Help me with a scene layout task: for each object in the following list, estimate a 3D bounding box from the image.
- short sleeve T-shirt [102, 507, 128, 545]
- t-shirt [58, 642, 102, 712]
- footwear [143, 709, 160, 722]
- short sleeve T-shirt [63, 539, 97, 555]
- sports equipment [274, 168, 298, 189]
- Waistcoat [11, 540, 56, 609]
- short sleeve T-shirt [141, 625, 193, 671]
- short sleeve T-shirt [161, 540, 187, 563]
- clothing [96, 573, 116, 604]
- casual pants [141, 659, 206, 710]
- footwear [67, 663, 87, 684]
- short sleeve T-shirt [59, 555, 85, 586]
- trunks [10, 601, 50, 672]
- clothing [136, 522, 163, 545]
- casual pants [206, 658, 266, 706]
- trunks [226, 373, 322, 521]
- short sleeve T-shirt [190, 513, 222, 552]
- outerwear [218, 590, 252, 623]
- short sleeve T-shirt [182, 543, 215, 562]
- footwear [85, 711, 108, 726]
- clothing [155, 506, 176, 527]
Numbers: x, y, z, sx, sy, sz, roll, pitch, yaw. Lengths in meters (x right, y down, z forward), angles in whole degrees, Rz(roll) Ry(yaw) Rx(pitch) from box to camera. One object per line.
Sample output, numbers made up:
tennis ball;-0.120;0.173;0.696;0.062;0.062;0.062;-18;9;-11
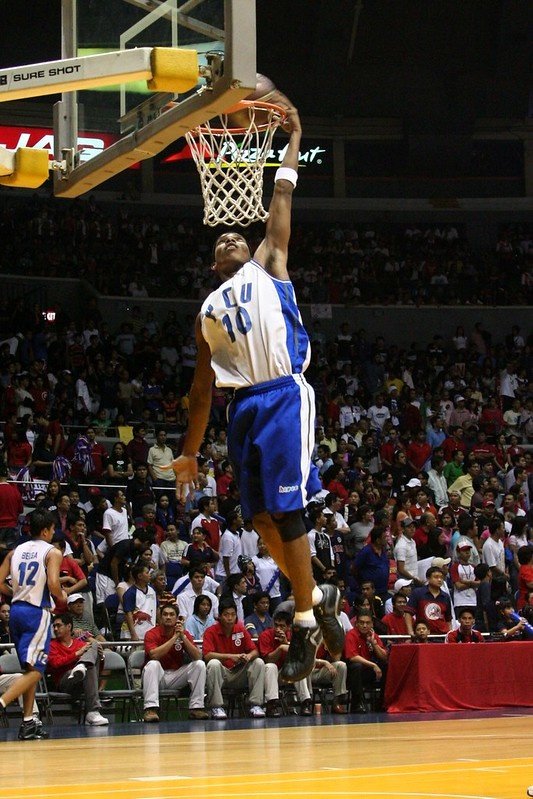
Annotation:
short sleeve T-shirt;-1.558;1.311;10.437;0.152;0.364;0.363;-15;-15;39
t-shirt;-1.447;2.147;7.870;0.315;0.519;0.410;0;-5;-10
footwear;-0.911;2.512;8.075;0.060;0.066;0.167;7;-19;-18
short sleeve T-shirt;-1.813;1.449;10.019;0.292;0.104;0.269;5;-7;-11
sports equipment;0.075;-0.828;3.759;0.094;0.060;0.088;7;-7;5
Waistcoat;-1.543;1.196;6.811;0.346;0.472;0.323;-5;-11;43
short sleeve T-shirt;-0.827;2.066;8.414;0.495;0.349;0.267;0;-2;-29
short sleeve T-shirt;-0.964;1.581;10.477;0.209;0.173;0.107;8;-30;-22
clothing;-1.520;1.798;9.670;0.161;0.256;0.199;9;-35;-14
casual pants;-0.760;2.313;8.370;0.505;0.436;0.473;5;-31;-7
footwear;-1.448;2.095;7.810;0.087;0.107;0.252;36;-38;2
short sleeve T-shirt;-1.720;1.516;9.000;0.206;0.257;0.354;0;-5;-10
trunks;-1.561;1.561;6.661;0.260;0.449;0.211;-1;-5;-1
clothing;-1.171;1.337;10.085;0.269;0.252;0.152;-4;-11;1
casual pants;-0.294;2.349;8.570;0.529;0.357;0.538;2;-5;-10
trunks;0.007;0.168;3.602;0.333;0.509;0.324;-1;-5;6
short sleeve T-shirt;-0.625;1.395;10.559;0.134;0.341;0.330;-28;-29;37
outerwear;-0.285;1.838;8.980;0.366;0.305;0.186;6;-15;-30
short sleeve T-shirt;-0.681;1.545;10.198;0.214;0.109;0.096;11;-38;-26
footwear;-1.288;2.427;7.706;0.084;0.093;0.223;15;-20;-40
clothing;-1.147;1.323;11.491;0.182;0.221;0.079;7;-52;-26
